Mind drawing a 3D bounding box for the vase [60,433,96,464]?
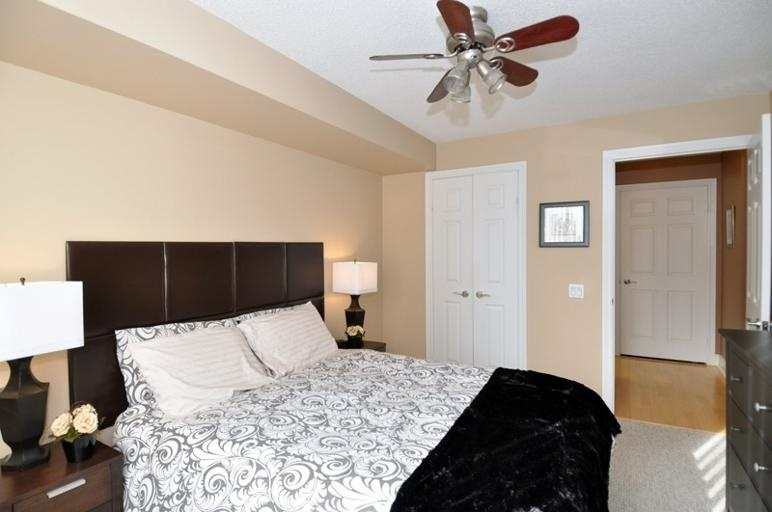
[{"bbox_3d":[-1.883,1.179,2.982,0.174,0.142,0.200,-1,-6,23],"label":"vase"}]

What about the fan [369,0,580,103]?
[{"bbox_3d":[0.675,-1.143,3.134,0.922,0.344,0.899,0,-9,-2],"label":"fan"}]

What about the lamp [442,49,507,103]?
[{"bbox_3d":[0.552,-1.171,3.083,0.374,0.307,0.225,-2,2,2],"label":"lamp"}]

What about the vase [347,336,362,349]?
[{"bbox_3d":[-0.312,0.861,4.818,0.129,0.111,0.126,3,-6,-33],"label":"vase"}]

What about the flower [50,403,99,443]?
[{"bbox_3d":[-1.919,1.019,2.955,0.152,0.197,0.077,1,20,40],"label":"flower"}]
